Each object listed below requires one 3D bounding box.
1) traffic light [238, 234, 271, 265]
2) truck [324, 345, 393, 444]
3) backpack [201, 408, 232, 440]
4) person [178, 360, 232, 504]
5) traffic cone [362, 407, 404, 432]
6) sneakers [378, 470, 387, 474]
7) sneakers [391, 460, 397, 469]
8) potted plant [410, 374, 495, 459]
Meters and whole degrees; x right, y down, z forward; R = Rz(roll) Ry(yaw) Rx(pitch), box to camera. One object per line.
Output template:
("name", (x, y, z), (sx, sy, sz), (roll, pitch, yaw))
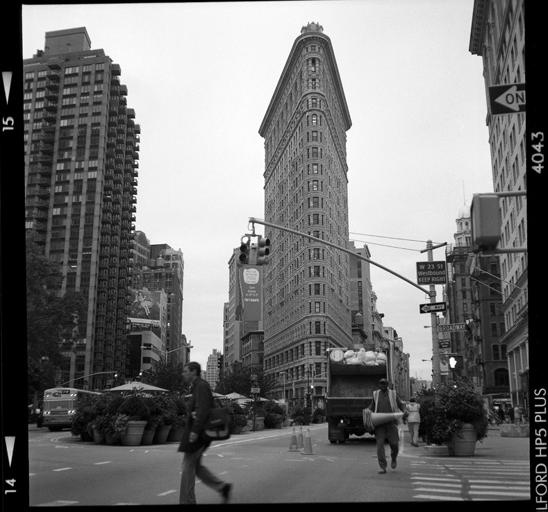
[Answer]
("traffic light", (-0.538, -0.143, 19.359), (0.948, 1.053, 1.043), (1, -4, -6))
("truck", (3.644, 5.250, 27.289), (2.407, 3.395, 4.912), (-3, -2, 21))
("backpack", (-0.795, 2.299, 9.895), (0.406, 0.527, 0.259), (-5, 12, 4))
("person", (-0.971, 2.470, 9.947), (0.707, 1.957, 0.762), (2, -13, -9))
("traffic cone", (2.201, 3.260, 14.108), (0.769, 0.384, 0.808), (-3, -15, 9))
("sneakers", (2.104, 4.160, 13.614), (0.164, 0.088, 0.358), (-2, -15, 8))
("sneakers", (2.394, 4.170, 14.039), (0.129, 0.286, 0.113), (-4, -17, 20))
("potted plant", (4.488, 4.114, 18.234), (1.744, 2.356, 1.794), (4, -11, -25))
